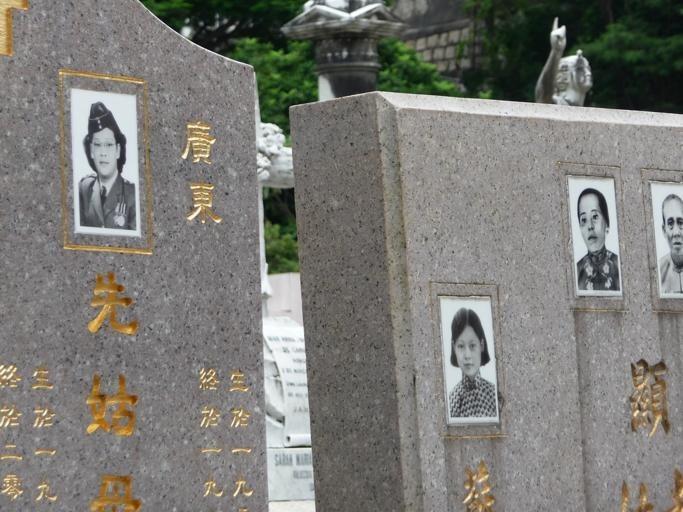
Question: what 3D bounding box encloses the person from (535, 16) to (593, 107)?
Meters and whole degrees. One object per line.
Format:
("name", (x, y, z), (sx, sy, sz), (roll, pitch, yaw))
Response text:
("person", (1.074, -0.935, 9.477), (0.272, 0.489, 0.890), (-1, 15, 7))
